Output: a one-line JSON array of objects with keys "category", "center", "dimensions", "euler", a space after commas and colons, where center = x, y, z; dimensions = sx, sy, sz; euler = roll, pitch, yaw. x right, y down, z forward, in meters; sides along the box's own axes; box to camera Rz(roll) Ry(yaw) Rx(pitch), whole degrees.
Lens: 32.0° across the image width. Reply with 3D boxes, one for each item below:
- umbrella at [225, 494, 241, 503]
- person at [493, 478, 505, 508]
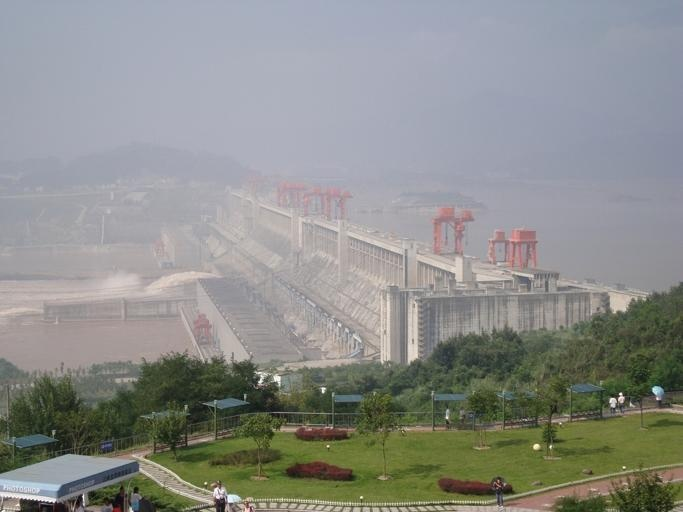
[{"category": "umbrella", "center": [-10.656, 24.543, 119.994], "dimensions": [1.424, 1.080, 1.843], "euler": [0, -2, -7]}, {"category": "person", "center": [16.332, 24.488, 123.303], "dimensions": [0.966, 3.306, 1.596], "euler": [-1, -3, 12]}]
